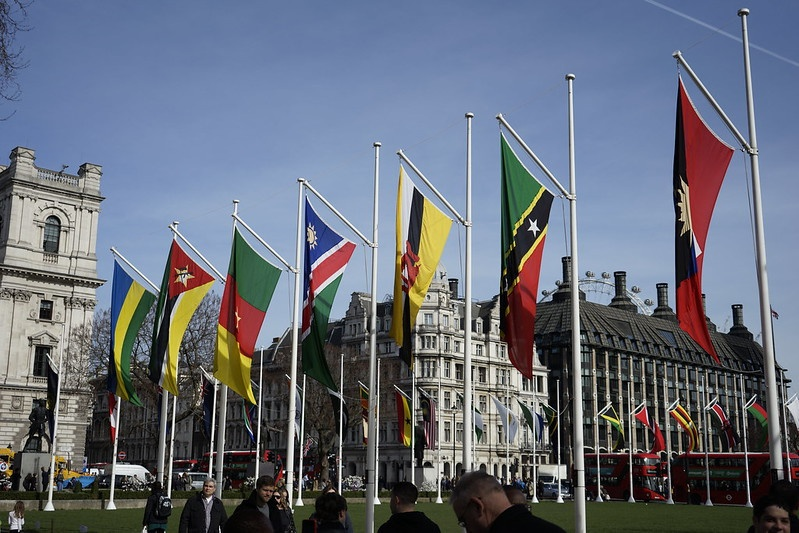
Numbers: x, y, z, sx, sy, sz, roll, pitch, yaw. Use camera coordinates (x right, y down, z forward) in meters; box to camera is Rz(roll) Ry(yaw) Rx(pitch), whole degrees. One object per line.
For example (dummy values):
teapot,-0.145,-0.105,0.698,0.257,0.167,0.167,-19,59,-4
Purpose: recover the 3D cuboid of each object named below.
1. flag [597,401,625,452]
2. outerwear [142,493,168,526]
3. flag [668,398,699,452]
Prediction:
flag,22.969,17.448,105.861,3.670,0.637,6.507,-1,-61,7
outerwear,-10.515,10.532,42.052,1.061,1.485,0.703,2,-20,-5
flag,24.773,13.868,83.324,1.364,4.588,1.198,-17,-44,14
